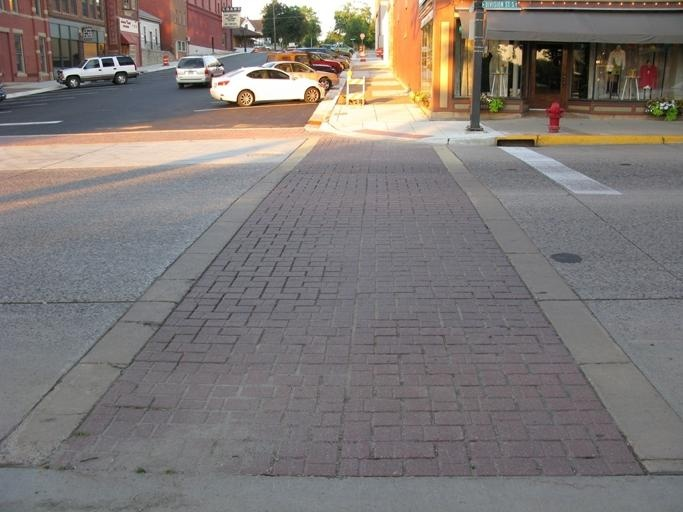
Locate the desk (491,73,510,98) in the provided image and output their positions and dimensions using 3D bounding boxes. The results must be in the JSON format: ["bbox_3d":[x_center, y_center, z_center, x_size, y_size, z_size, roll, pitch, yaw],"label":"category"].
[{"bbox_3d":[5.291,-5.709,20.557,0.915,0.859,0.751,-1,13,1],"label":"desk"}]

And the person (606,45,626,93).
[{"bbox_3d":[8.956,-6.037,20.078,0.558,1.569,0.331,6,24,18],"label":"person"}]

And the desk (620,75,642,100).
[{"bbox_3d":[9.472,-5.481,20.082,0.901,0.877,0.788,5,14,25],"label":"desk"}]
